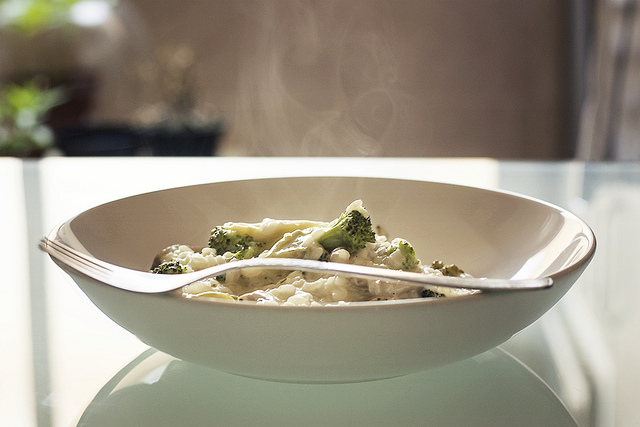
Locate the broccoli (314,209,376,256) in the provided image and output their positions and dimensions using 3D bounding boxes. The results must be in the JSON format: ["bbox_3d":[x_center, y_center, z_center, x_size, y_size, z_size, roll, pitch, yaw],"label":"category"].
[{"bbox_3d":[0.034,0.029,0.907,0.101,0.053,0.077,-8,18,28],"label":"broccoli"}]

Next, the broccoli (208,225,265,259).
[{"bbox_3d":[-0.130,0.045,0.922,0.063,0.016,0.046,12,50,16],"label":"broccoli"}]

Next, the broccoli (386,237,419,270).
[{"bbox_3d":[0.116,0.058,0.875,0.023,0.041,0.046,-46,1,4],"label":"broccoli"}]
